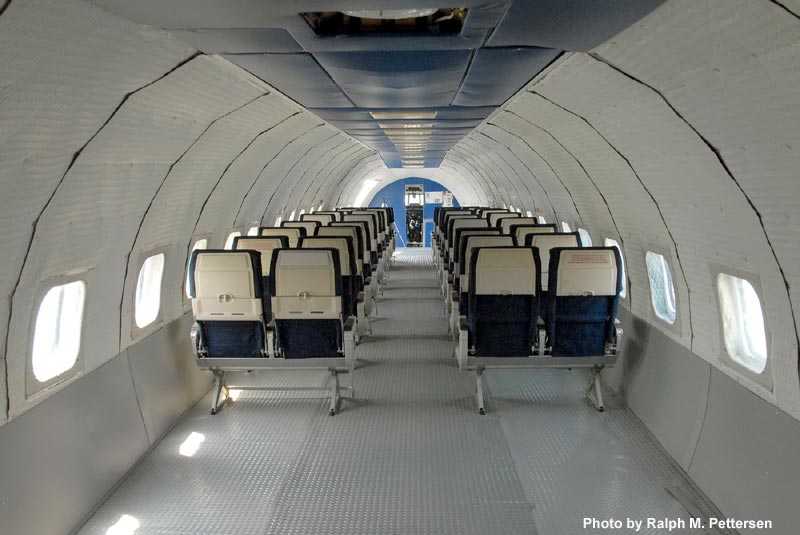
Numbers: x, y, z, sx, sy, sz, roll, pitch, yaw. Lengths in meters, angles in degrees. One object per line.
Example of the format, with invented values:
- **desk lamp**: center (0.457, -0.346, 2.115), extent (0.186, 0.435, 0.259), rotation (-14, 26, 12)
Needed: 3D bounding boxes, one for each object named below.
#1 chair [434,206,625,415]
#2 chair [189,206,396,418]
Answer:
- **chair**: center (1.837, 0.515, 7.303), extent (1.991, 1.905, 2.501), rotation (0, 12, 5)
- **chair**: center (-1.617, 0.581, 7.679), extent (2.084, 1.956, 2.849), rotation (1, 8, 1)
